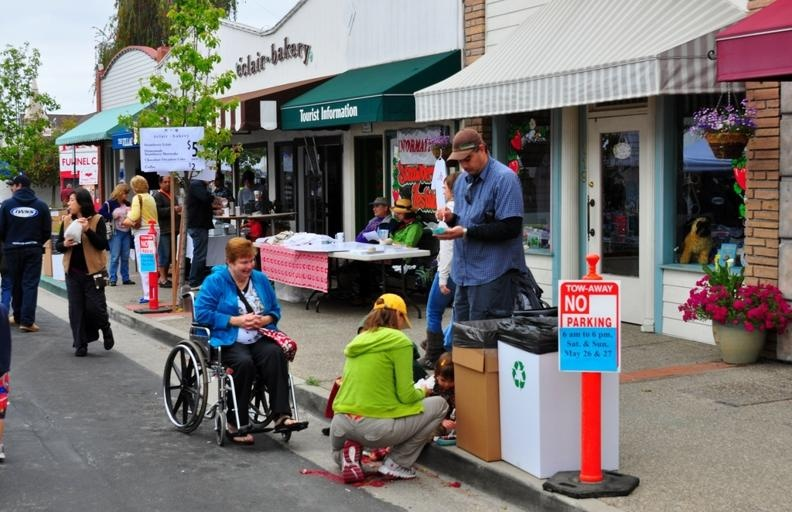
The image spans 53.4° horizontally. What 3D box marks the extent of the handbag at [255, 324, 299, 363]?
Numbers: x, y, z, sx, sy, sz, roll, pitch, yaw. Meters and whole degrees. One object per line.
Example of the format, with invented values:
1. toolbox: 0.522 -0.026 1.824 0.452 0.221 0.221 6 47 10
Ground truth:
1. handbag: -1.271 0.881 8.263 0.249 0.438 0.151 -36 -10 -43

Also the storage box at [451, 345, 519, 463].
1. storage box: 0.892 1.335 7.464 0.678 1.027 0.683 -5 5 -45

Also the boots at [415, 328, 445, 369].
1. boots: 0.380 1.117 9.778 0.420 0.492 0.221 0 17 4

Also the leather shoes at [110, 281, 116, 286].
1. leather shoes: -6.258 0.605 17.237 0.069 0.086 0.207 -1 -2 -29

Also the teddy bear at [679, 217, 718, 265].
1. teddy bear: 4.135 -0.223 10.849 0.359 0.666 0.620 9 12 12

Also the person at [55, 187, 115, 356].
1. person: -4.647 0.240 11.547 0.765 2.313 1.024 -1 0 2

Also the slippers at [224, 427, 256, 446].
1. slippers: -1.632 1.864 8.097 0.244 0.095 0.171 2 5 36

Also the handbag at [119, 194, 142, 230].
1. handbag: -5.252 -0.907 15.575 0.365 0.711 0.544 4 7 -18

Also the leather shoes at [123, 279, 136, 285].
1. leather shoes: -5.901 0.572 17.343 0.277 0.121 0.105 -2 -1 18

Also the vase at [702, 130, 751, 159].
1. vase: 4.129 -1.412 9.888 0.335 0.214 0.351 1 -1 0

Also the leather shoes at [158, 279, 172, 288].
1. leather shoes: -4.976 0.598 16.784 0.279 0.128 0.124 -3 1 24
